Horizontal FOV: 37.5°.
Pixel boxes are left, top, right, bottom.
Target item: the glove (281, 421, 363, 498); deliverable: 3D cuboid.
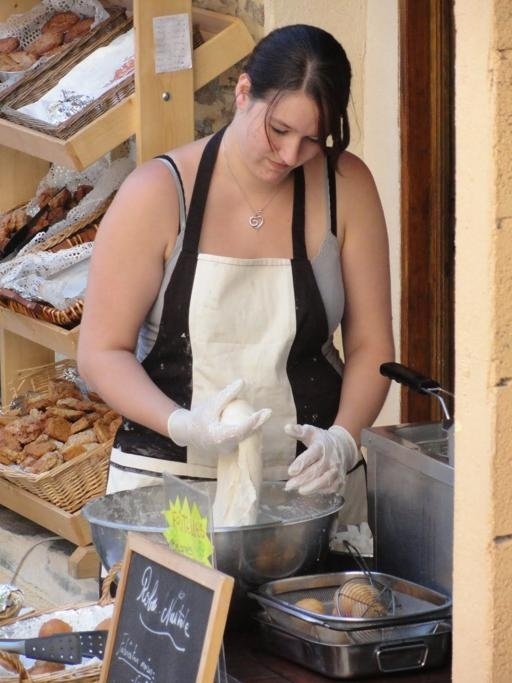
[{"bbox_3d":[0.146,0.211,1.523,0.151,0.179,0.097,13,-24,-22],"label":"glove"}]
